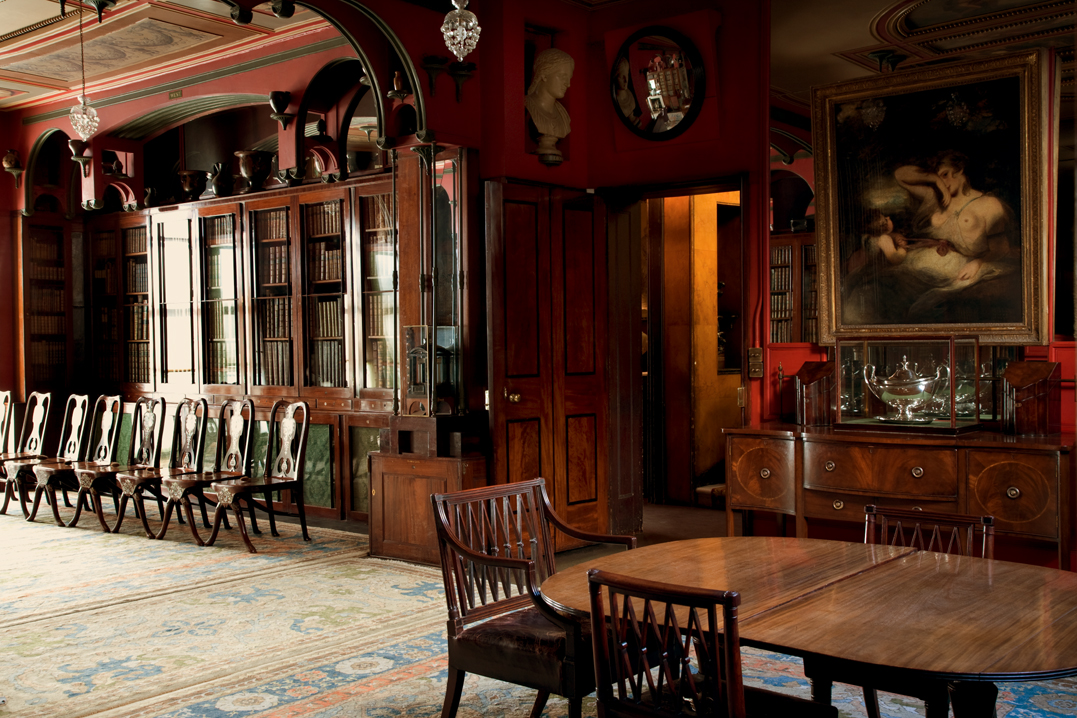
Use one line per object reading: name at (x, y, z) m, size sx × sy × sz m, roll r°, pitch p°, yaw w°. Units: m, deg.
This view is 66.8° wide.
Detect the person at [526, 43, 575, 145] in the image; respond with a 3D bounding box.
person at (0.107, -2.312, 7.201) m, size 0.253 × 0.873 × 0.511 m, roll 3°, pitch 6°, yaw 43°

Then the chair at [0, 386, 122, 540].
chair at (-5.353, 1.204, 9.136) m, size 1.442 × 1.467 × 1.031 m, roll -1°, pitch -6°, yaw 30°

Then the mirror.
mirror at (1.045, -2.380, 6.995) m, size 0.153 × 1.039 × 1.101 m, roll -8°, pitch 10°, yaw -36°
